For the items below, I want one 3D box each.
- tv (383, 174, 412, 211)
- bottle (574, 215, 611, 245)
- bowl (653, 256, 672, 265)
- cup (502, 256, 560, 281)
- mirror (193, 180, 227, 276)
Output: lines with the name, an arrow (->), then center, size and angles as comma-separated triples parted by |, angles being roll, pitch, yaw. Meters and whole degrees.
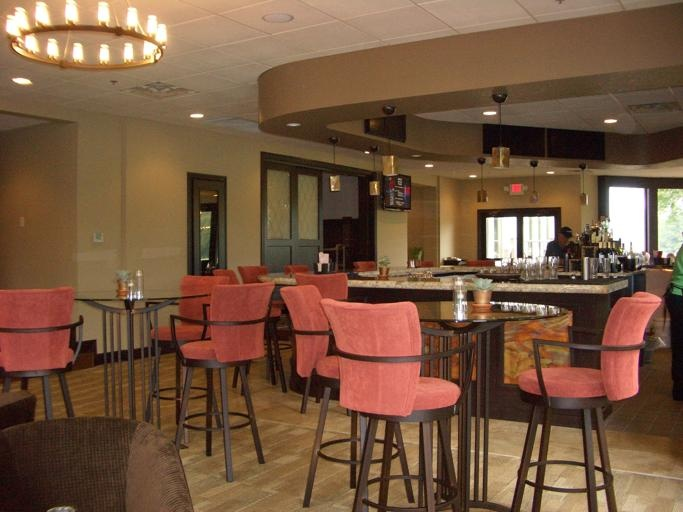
tv -> 1.271, -1.496, 12.603 | 0.126, 0.813, 1.180 | 2, 5, 39
bottle -> 3.280, -0.321, 6.957 | 0.396, 0.361, 0.615 | 0, 2, 25
bowl -> 6.042, 0.095, 10.133 | 0.256, 0.144, 0.390 | 1, 1, 15
cup -> 2.000, 0.129, 5.455 | 0.484, 0.152, 0.358 | 1, -1, -12
mirror -> -2.127, -0.360, 8.772 | 0.071, 1.768, 0.707 | 9, 13, 41
